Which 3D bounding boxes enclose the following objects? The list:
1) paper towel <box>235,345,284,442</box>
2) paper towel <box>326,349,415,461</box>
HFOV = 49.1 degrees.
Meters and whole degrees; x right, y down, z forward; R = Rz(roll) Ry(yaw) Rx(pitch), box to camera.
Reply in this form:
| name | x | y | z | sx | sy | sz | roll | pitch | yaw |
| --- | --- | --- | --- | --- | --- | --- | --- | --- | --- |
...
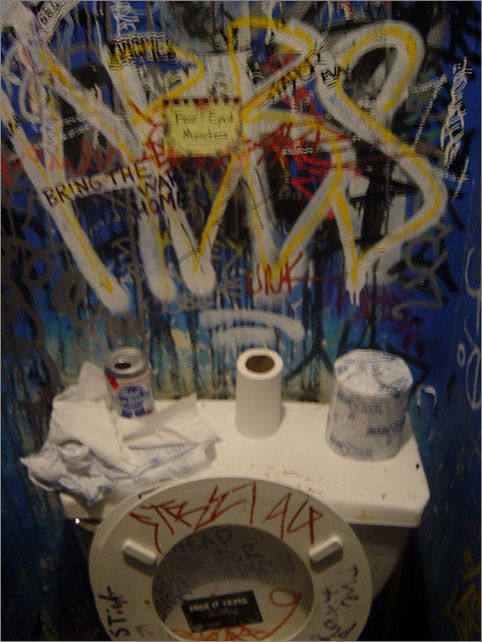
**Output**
| name | x | y | z | sx | sy | sz | roll | pitch | yaw |
| --- | --- | --- | --- | --- | --- | --- | --- | --- | --- |
| paper towel | 0.031 | 0.133 | 0.939 | 0.083 | 0.137 | 0.087 | 23 | 53 | 16 |
| paper towel | 0.221 | 0.148 | 0.930 | 0.136 | 0.150 | 0.136 | 13 | 32 | 20 |
